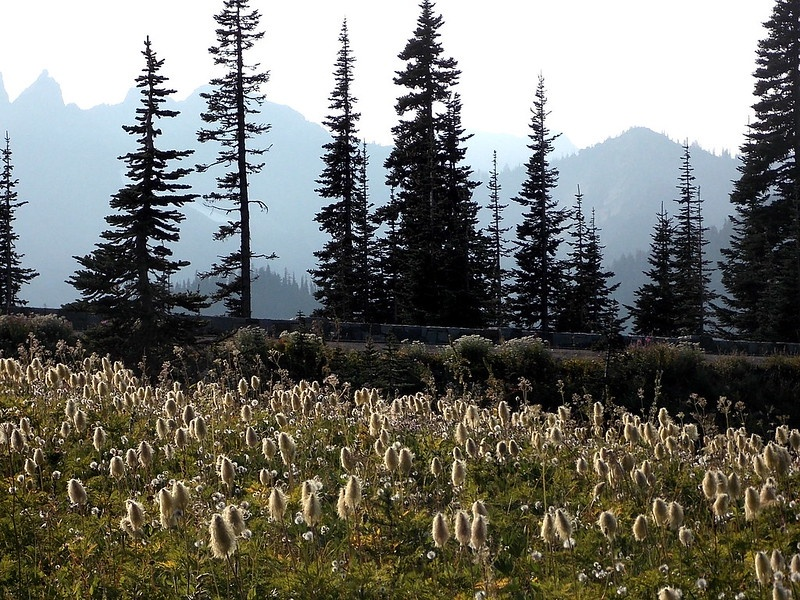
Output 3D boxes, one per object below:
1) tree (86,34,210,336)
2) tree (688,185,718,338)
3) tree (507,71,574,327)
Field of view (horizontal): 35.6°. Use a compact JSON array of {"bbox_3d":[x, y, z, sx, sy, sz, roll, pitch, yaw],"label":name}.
[{"bbox_3d":[-16.616,-7.301,80.819,6.673,19.767,3.055,2,-2,-17],"label":"tree"},{"bbox_3d":[24.992,-3.705,103.297,1.728,12.887,11.416,1,-2,13],"label":"tree"},{"bbox_3d":[11.450,-7.970,102.798,3.701,20.717,4.039,0,-3,34],"label":"tree"}]
